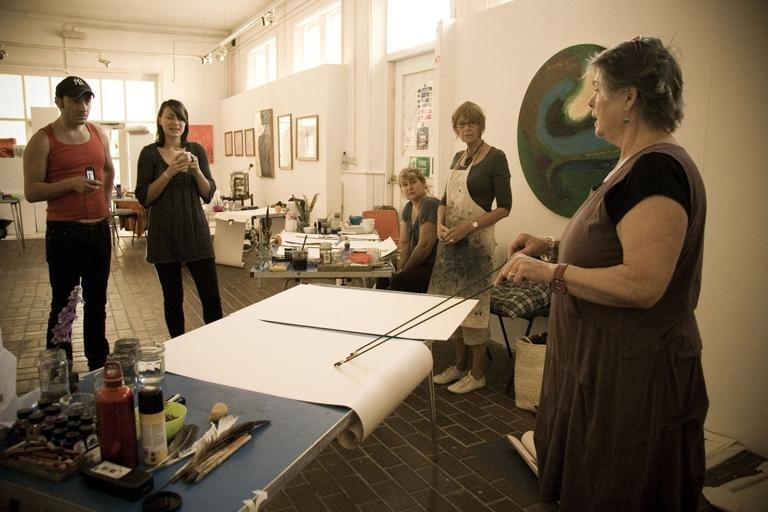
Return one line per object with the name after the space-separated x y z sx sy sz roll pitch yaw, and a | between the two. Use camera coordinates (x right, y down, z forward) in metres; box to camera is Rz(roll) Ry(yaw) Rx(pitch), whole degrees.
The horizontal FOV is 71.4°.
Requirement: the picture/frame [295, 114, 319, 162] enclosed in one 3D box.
-1.314 -2.046 9.143 0.085 0.765 0.886 -4 8 -34 | picture/frame

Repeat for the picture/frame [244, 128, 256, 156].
-3.003 -2.586 11.971 0.053 0.744 0.734 -1 1 -35 | picture/frame

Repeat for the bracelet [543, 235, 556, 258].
0.848 -0.058 2.731 0.067 0.088 0.037 -2 -7 35 | bracelet

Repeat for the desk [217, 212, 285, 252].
-2.059 -0.358 8.511 0.743 0.457 0.707 7 12 34 | desk

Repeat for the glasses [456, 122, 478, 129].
0.627 -0.984 3.994 0.166 0.039 0.053 1 9 5 | glasses

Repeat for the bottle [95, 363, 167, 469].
-0.915 0.565 1.934 0.221 0.391 0.153 -4 10 -26 | bottle

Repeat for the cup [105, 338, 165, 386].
-1.060 0.441 2.279 0.229 0.231 0.146 0 3 17 | cup

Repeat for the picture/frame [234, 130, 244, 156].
-3.457 -2.722 12.706 0.029 0.695 0.685 -3 4 -39 | picture/frame

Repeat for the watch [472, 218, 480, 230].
0.691 -0.241 4.039 0.040 0.066 0.062 -1 1 7 | watch

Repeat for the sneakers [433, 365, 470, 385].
0.539 1.003 4.511 0.349 0.130 0.126 -1 5 -19 | sneakers

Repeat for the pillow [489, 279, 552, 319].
1.060 0.336 4.126 0.342 0.103 0.347 -17 15 -17 | pillow

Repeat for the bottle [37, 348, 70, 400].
-1.381 0.512 2.242 0.123 0.217 0.127 -3 3 0 | bottle

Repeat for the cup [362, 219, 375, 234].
-0.164 -0.330 6.032 0.154 0.122 0.123 2 6 22 | cup

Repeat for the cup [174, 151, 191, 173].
-1.481 -0.697 3.951 0.104 0.141 0.182 -3 9 -20 | cup

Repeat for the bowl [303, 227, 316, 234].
-0.820 -0.291 5.933 0.133 0.071 0.110 -2 9 -14 | bowl

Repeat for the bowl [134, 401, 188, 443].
-0.833 0.668 2.076 0.173 0.110 0.174 -18 -6 -2 | bowl

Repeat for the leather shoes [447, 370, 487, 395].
0.672 1.052 4.412 0.349 0.140 0.128 -7 7 -17 | leather shoes

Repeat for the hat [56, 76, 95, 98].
-2.196 -1.200 3.740 0.234 0.139 0.170 -5 8 27 | hat

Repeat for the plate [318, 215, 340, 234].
-0.627 -0.342 6.052 0.261 0.144 0.215 0 9 -4 | plate

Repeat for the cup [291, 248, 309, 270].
-0.688 0.030 4.374 0.136 0.137 0.162 1 3 -6 | cup

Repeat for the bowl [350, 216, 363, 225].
-0.332 -0.416 6.253 0.141 0.073 0.162 0 2 -4 | bowl

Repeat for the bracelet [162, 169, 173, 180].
-1.574 -0.595 3.875 0.058 0.045 0.059 3 -1 -32 | bracelet

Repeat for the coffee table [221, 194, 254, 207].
-2.940 -1.112 10.679 0.395 0.382 0.387 -6 10 -38 | coffee table
